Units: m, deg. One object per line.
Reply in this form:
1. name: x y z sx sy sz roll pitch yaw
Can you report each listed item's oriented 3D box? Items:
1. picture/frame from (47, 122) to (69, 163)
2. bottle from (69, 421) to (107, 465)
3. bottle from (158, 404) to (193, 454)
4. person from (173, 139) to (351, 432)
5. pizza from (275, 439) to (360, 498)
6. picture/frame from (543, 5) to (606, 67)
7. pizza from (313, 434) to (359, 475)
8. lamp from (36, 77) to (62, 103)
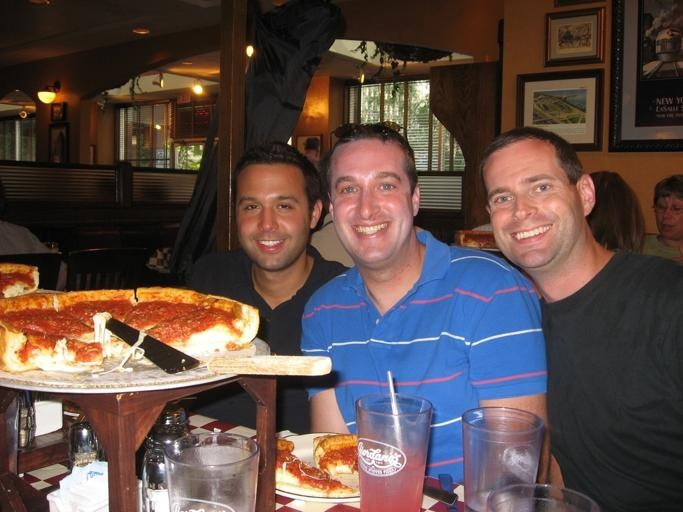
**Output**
1. picture/frame: -5.253 -2.086 11.437 0.645 0.738 0.039 8 7 37
2. bottle: -0.600 0.443 1.445 0.072 0.102 0.078 -1 1 0
3. bottle: -0.349 0.365 1.321 0.069 0.066 0.069 2 0 -1
4. person: -0.237 0.235 2.383 0.853 1.289 0.715 0 3 1
5. pizza: -0.056 0.479 1.387 0.185 0.062 0.078 10 7 36
6. picture/frame: 1.741 -1.635 4.525 0.484 0.456 0.037 5 5 31
7. pizza: -0.009 0.469 1.468 0.087 0.031 0.086 12 24 6
8. lamp: -5.336 -3.060 11.298 0.376 0.537 0.424 6 5 35
